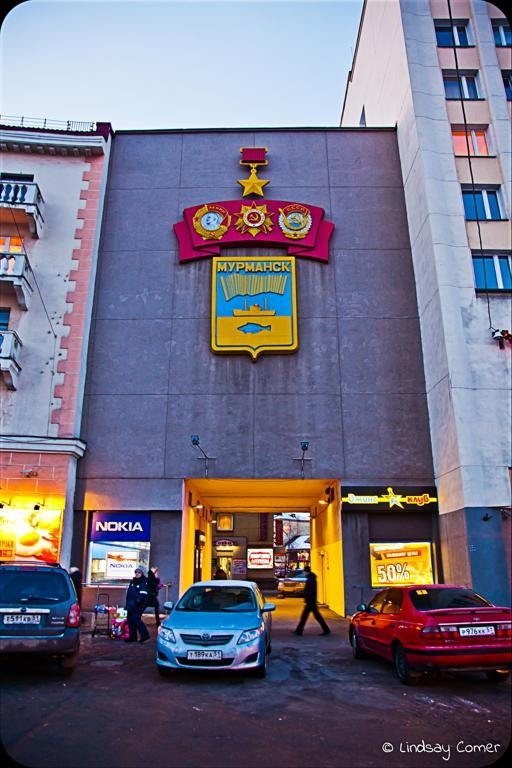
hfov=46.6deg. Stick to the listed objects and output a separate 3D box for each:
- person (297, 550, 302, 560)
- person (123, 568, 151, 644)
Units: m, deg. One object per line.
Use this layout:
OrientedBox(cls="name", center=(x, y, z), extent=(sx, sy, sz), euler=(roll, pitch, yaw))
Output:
OrientedBox(cls="person", center=(5.401, 21.350, 74.215), extent=(0.942, 1.325, 0.312), euler=(2, -11, 17))
OrientedBox(cls="person", center=(-2.410, 4.551, 12.184), extent=(0.485, 1.469, 1.650), euler=(2, -16, -11))
